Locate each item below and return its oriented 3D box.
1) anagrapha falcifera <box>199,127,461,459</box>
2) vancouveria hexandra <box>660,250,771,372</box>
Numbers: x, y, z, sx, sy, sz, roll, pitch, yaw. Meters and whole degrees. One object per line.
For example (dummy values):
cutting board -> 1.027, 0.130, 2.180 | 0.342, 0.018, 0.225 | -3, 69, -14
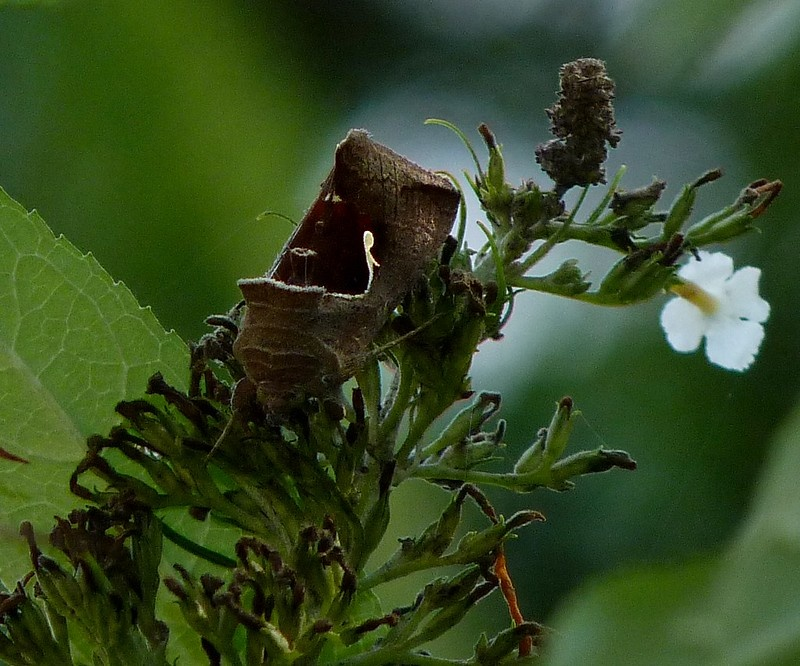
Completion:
anagrapha falcifera -> -0.114, -0.117, 3.233 | 0.392, 0.643, 0.200 | 12, -13, 18
vancouveria hexandra -> 0.693, -0.045, 3.554 | 0.227, 0.256, 0.063 | 22, 28, 25
